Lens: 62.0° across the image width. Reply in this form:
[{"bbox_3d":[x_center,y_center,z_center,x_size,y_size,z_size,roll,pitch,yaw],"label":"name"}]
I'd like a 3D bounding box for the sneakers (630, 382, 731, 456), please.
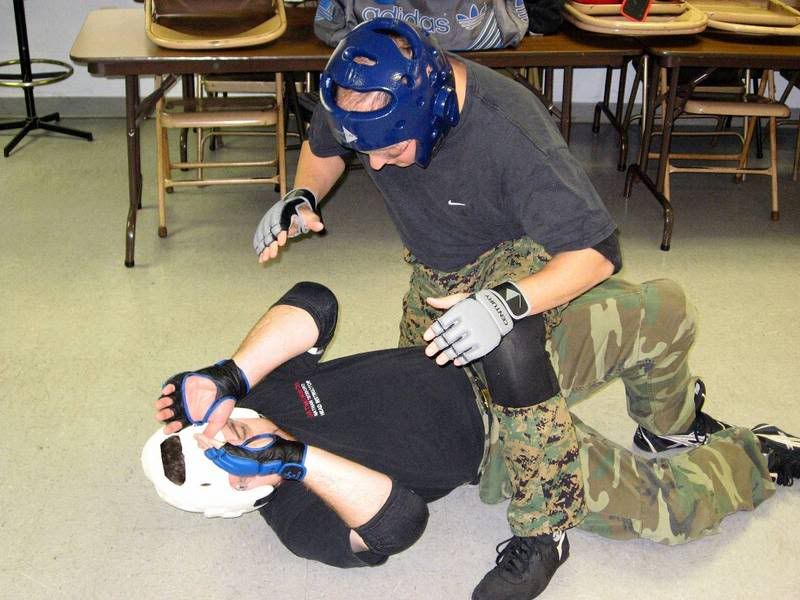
[{"bbox_3d":[1.100,0.399,2.479,0.462,0.307,0.157,2,9,-21],"label":"sneakers"}]

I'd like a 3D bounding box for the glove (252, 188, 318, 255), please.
[{"bbox_3d":[-0.363,-0.286,2.191,0.109,0.209,0.313,15,40,-12],"label":"glove"}]

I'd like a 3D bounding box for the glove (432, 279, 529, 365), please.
[{"bbox_3d":[0.216,0.060,1.764,0.266,0.081,0.147,-36,83,-24],"label":"glove"}]
